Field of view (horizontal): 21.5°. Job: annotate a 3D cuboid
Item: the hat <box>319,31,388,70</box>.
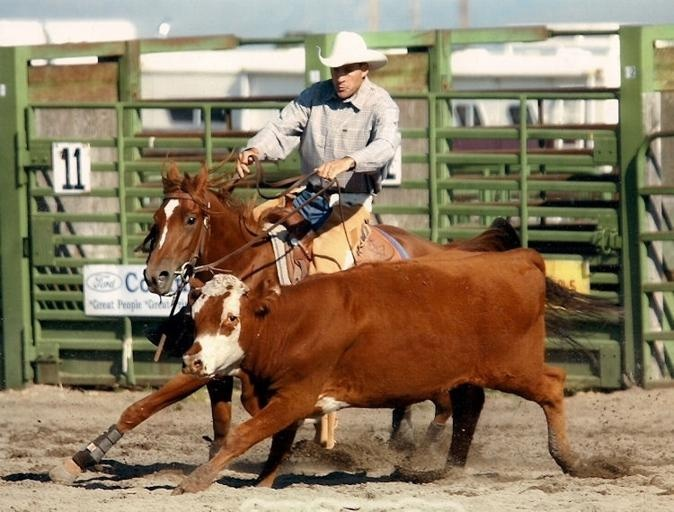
[{"bbox_3d":[0.172,-1.843,15.596,0.561,0.304,0.545,8,-2,2],"label":"hat"}]
